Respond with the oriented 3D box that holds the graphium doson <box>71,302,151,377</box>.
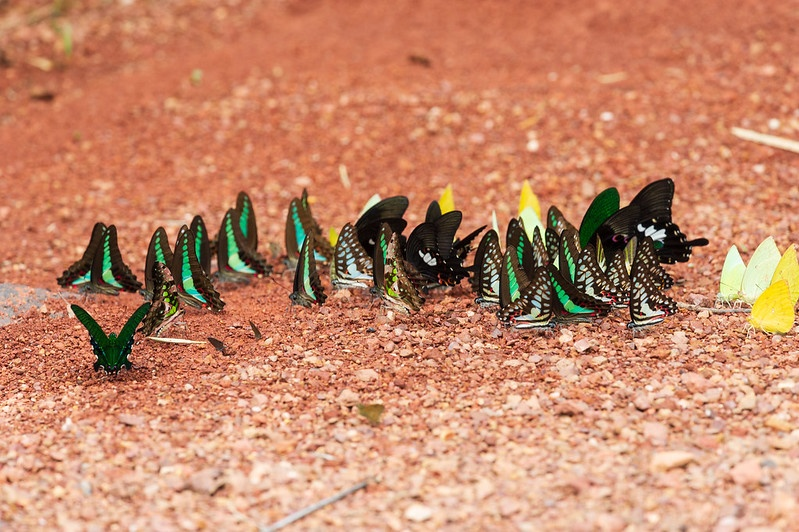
[{"bbox_3d":[-2.125,0.554,6.627,0.597,0.498,0.197,1,9,-9],"label":"graphium doson"}]
